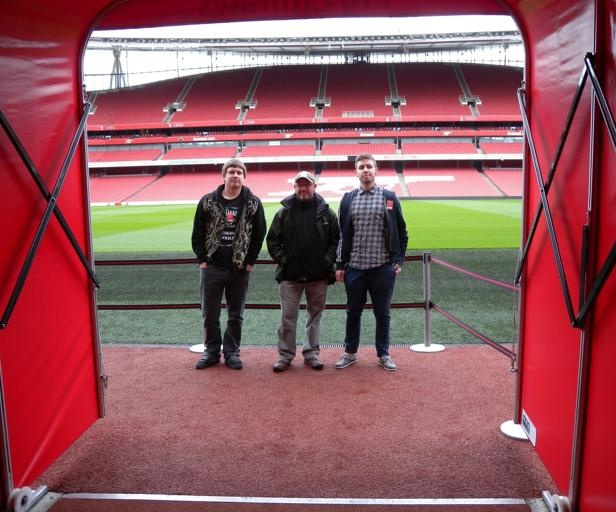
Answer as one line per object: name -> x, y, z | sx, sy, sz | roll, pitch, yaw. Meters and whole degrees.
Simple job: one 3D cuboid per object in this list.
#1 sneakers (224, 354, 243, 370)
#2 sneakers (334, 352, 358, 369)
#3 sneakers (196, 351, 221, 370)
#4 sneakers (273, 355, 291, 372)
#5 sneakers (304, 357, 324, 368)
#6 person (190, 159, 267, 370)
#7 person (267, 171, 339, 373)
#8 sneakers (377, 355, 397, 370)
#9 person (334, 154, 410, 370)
sneakers -> -0.543, 0.887, 5.283 | 0.071, 0.075, 0.184 | 0, -6, -23
sneakers -> 0.353, 0.881, 5.350 | 0.080, 0.098, 0.240 | -11, -8, 41
sneakers -> -0.764, 0.883, 5.315 | 0.081, 0.110, 0.238 | -3, -6, 26
sneakers -> -0.162, 0.904, 5.237 | 0.070, 0.083, 0.194 | 1, -13, 16
sneakers -> 0.086, 0.894, 5.303 | 0.066, 0.080, 0.185 | 2, -10, -26
person -> -0.581, 0.070, 5.248 | 0.578, 1.712, 0.288 | -2, 7, -4
person -> 0.012, 0.117, 5.251 | 0.583, 1.621, 0.337 | -2, 7, -4
sneakers -> 0.679, 0.879, 5.199 | 0.069, 0.074, 0.181 | -2, -3, -15
person -> 0.536, 0.045, 5.220 | 0.568, 1.758, 0.337 | 0, 7, 8
